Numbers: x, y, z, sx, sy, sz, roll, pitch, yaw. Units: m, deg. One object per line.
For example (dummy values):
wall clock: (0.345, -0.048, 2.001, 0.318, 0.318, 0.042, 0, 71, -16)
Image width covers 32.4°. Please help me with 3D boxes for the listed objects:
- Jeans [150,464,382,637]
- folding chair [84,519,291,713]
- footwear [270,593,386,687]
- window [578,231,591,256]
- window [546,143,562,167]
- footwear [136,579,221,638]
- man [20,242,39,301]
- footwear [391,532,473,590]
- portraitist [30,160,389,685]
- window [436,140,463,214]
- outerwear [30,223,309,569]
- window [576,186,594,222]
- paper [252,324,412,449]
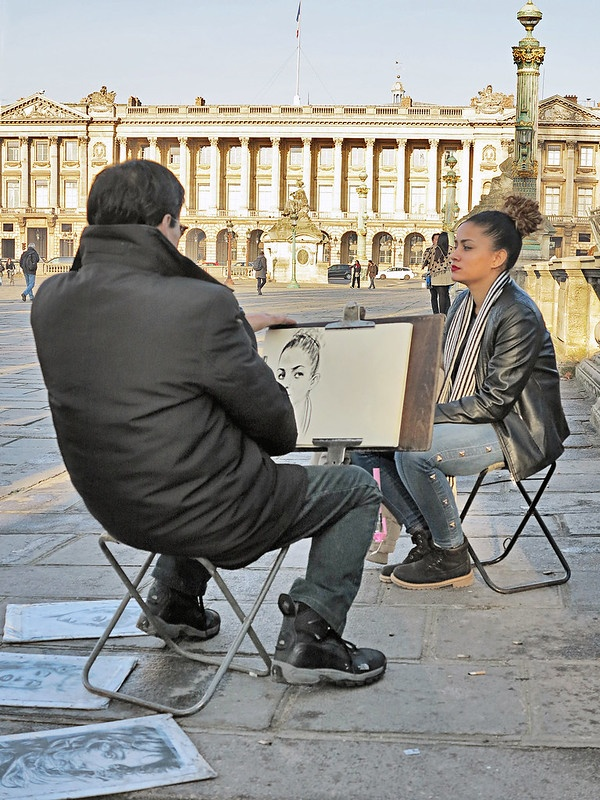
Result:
Jeans: (-0.044, 0.361, 2.956, 0.790, 0.552, 0.471, 1, 3, 40)
folding chair: (-0.299, 0.567, 2.736, 0.419, 0.444, 0.373, 2, -6, 25)
footwear: (0.097, 0.660, 2.771, 0.330, 0.224, 0.138, 10, -10, -28)
window: (20.789, -11.455, 75.643, 0.807, 1.593, 1.317, 0, 7, 11)
window: (19.029, -18.218, 77.340, 1.147, 1.731, 0.466, 0, 8, 11)
footwear: (-0.345, 0.632, 3.125, 0.269, 0.189, 0.099, 14, -14, -38)
man: (-7.114, -3.343, 27.126, 0.655, 1.423, 0.580, -9, 21, -24)
footwear: (0.463, 0.591, 3.633, 0.304, 0.164, 0.125, 1, 2, 5)
portraitist: (-0.215, 0.094, 2.699, 0.925, 1.250, 0.826, 2, 3, 1)
window: (5.007, -7.083, 34.207, 0.991, 2.077, 0.957, 2, 14, 14)
outerwear: (-0.304, 0.017, 2.429, 0.618, 0.840, 0.328, -1, 7, -3)
window: (21.221, -14.673, 76.770, 1.205, 2.283, 1.692, 1, 8, 17)
paper: (0.098, -0.040, 3.110, 0.487, 0.380, 0.043, 0, 0, 30)
